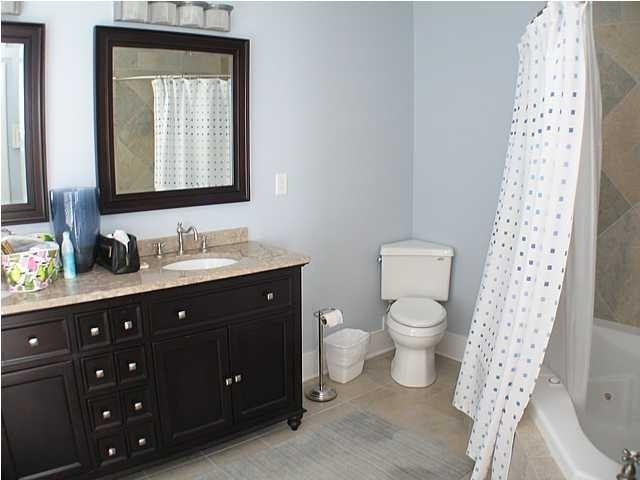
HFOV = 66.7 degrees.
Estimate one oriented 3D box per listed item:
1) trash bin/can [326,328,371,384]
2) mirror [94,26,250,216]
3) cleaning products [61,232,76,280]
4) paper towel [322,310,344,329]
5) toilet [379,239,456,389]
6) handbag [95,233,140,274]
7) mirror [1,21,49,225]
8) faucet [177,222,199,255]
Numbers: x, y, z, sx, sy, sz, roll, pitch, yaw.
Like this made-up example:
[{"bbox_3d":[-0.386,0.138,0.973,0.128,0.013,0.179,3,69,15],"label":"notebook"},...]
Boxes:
[{"bbox_3d":[0.184,0.820,3.500,0.260,0.307,0.336,12,17,42],"label":"trash bin/can"},{"bbox_3d":[-0.860,-0.695,2.724,1.060,1.169,0.082,-5,12,-35],"label":"mirror"},{"bbox_3d":[-1.221,0.079,2.351,0.049,0.219,0.075,-5,14,-22],"label":"cleaning products"},{"bbox_3d":[0.077,0.520,3.199,0.146,0.096,0.081,-9,15,-37],"label":"paper towel"},{"bbox_3d":[0.657,0.513,3.534,0.556,0.884,0.721,4,13,15],"label":"toilet"},{"bbox_3d":[-1.016,0.056,2.479,0.154,0.182,0.253,-11,23,-37],"label":"handbag"},{"bbox_3d":[-1.441,-0.557,2.366,0.259,0.960,0.119,-6,14,-25],"label":"mirror"},{"bbox_3d":[-0.769,-0.010,2.826,0.125,0.174,0.207,-3,13,-14],"label":"faucet"}]
